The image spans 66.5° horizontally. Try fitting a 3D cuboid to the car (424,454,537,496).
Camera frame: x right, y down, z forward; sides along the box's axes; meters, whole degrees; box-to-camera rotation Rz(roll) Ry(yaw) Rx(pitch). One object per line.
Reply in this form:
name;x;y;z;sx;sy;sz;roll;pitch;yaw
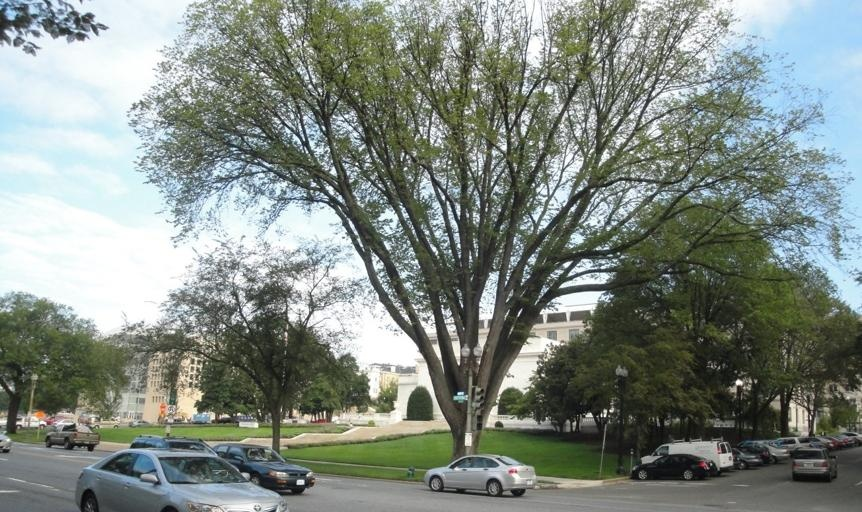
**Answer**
car;2.978;12.622;38.217;5.759;1.710;2.601;-3;-16;25
